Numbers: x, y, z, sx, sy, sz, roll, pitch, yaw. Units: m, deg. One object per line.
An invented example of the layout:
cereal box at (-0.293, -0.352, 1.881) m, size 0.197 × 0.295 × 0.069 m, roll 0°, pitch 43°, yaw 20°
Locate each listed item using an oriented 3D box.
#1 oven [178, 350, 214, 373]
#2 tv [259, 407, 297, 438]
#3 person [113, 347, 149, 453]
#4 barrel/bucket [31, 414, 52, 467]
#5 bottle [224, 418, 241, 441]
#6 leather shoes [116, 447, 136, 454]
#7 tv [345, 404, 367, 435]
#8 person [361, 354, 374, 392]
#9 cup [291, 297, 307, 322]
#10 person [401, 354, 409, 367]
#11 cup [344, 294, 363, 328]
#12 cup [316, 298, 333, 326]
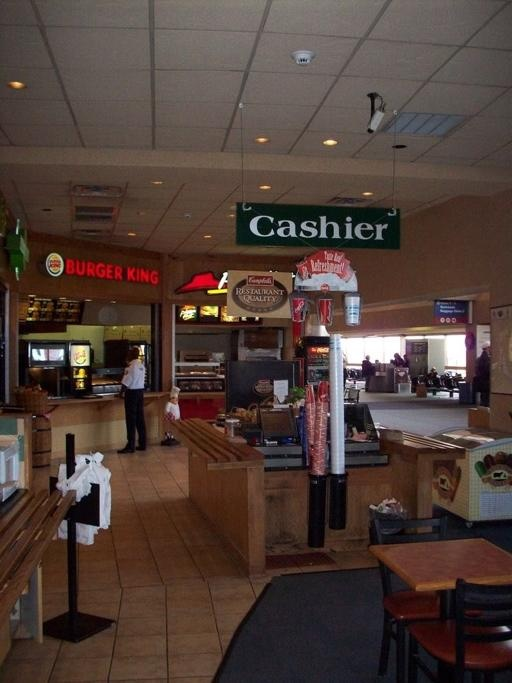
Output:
oven at (-1.317, 0.459, 11.738) m, size 0.840 × 0.488 × 0.872 m, roll -1°, pitch -1°, yaw -7°
tv at (0.179, 0.684, 4.480) m, size 0.303 × 0.225 × 0.261 m, roll -1°, pitch -1°, yaw -4°
person at (-2.024, 0.973, 8.840) m, size 0.418 × 1.722 × 0.621 m, roll -1°, pitch -1°, yaw -14°
barrel/bucket at (-3.046, 1.405, 7.680) m, size 0.237 × 0.743 × 0.342 m, roll -1°, pitch -1°, yaw -24°
bottle at (-0.220, 0.745, 4.548) m, size 0.138 × 0.198 × 0.137 m, roll 0°, pitch 0°, yaw 0°
leather shoes at (-2.137, 1.774, 8.901) m, size 0.333 × 0.139 × 0.107 m, roll 3°, pitch 0°, yaw 12°
tv at (0.833, 0.652, 4.539) m, size 0.179 × 0.232 × 0.085 m, roll -1°, pitch -1°, yaw -2°
person at (4.998, 1.415, 23.942) m, size 0.520 × 1.535 × 1.064 m, roll -1°, pitch -1°, yaw 10°
cup at (0.341, -0.260, 4.339) m, size 0.119 × 0.191 × 0.194 m, roll -1°, pitch -1°, yaw 4°
person at (6.661, 0.892, 24.048) m, size 0.259 × 0.501 × 1.090 m, roll -2°, pitch -1°, yaw 16°
cup at (0.752, -0.247, 4.221) m, size 0.120 × 0.229 × 0.293 m, roll -1°, pitch -1°, yaw 10°
cup at (0.530, -0.227, 4.130) m, size 0.105 × 0.219 × 0.225 m, roll -1°, pitch -1°, yaw 7°
